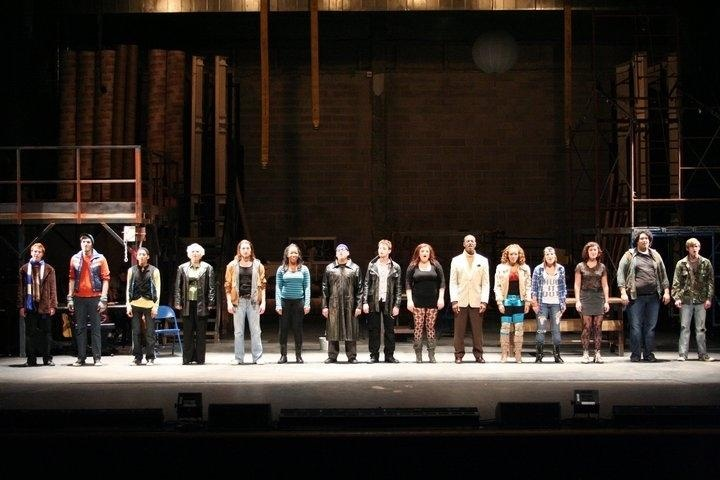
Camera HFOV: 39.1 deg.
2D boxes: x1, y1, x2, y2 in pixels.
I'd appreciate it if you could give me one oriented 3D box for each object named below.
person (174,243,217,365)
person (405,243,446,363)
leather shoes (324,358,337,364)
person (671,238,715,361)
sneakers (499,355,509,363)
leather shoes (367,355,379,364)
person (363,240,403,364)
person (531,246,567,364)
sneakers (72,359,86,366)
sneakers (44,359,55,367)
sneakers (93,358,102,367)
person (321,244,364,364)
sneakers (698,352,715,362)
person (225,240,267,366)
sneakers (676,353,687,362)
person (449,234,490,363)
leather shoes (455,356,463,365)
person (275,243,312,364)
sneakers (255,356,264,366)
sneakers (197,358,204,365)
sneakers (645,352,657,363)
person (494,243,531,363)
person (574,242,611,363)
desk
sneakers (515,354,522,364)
[{"bbox_3d":[-3.252,1.271,20.178,0.774,2.409,0.649,-1,-9,-8],"label":"person"},{"bbox_3d":[1.313,1.247,20.018,0.747,2.330,0.594,-4,-9,11],"label":"person"},{"bbox_3d":[-0.563,2.411,20.185,0.244,0.085,0.092,2,-2,8],"label":"leather shoes"},{"bbox_3d":[6.663,1.161,20.209,0.828,2.527,0.884,-5,-9,15],"label":"person"},{"bbox_3d":[2.878,2.371,20.107,0.120,0.134,0.343,-2,-9,9],"label":"sneakers"},{"bbox_3d":[0.301,2.370,20.105,0.195,0.171,0.305,-2,-8,0],"label":"leather shoes"},{"bbox_3d":[0.459,1.222,20.173,0.746,2.427,0.629,-2,-9,-1],"label":"person"},{"bbox_3d":[3.762,1.265,20.080,0.679,2.372,1.016,-4,-9,9],"label":"person"},{"bbox_3d":[-5.511,2.433,19.992,0.229,0.086,0.103,2,-2,1],"label":"sneakers"},{"bbox_3d":[-6.102,2.425,20.017,0.089,0.102,0.257,6,-10,-44],"label":"sneakers"},{"bbox_3d":[-5.162,2.433,20.085,0.110,0.158,0.169,-7,-22,20],"label":"sneakers"},{"bbox_3d":[-0.331,1.271,20.094,0.720,2.309,0.623,3,-10,-30],"label":"person"},{"bbox_3d":[6.904,2.363,20.193,0.354,0.131,0.132,-4,-4,38],"label":"sneakers"},{"bbox_3d":[-2.269,1.235,20.296,0.785,2.494,0.841,-1,-9,-8],"label":"person"},{"bbox_3d":[6.400,2.339,20.124,0.112,0.118,0.324,-4,-11,26],"label":"sneakers"},{"bbox_3d":[2.209,1.168,20.206,0.765,2.541,1.125,-3,-9,4],"label":"person"},{"bbox_3d":[1.965,2.378,19.949,0.113,0.128,0.325,-1,-9,4],"label":"leather shoes"},{"bbox_3d":[-1.311,1.262,20.306,0.651,2.405,0.935,-1,-9,-5],"label":"person"},{"bbox_3d":[-1.973,2.385,20.151,0.249,0.187,0.339,-1,-8,-5],"label":"sneakers"},{"bbox_3d":[-3.138,2.419,20.124,0.141,0.122,0.122,1,0,18],"label":"sneakers"},{"bbox_3d":[5.769,2.331,20.075,0.111,0.127,0.325,2,3,23],"label":"sneakers"},{"bbox_3d":[3.054,1.240,19.973,0.727,2.329,0.535,-3,-9,2],"label":"person"},{"bbox_3d":[4.603,1.237,20.058,0.614,2.363,0.691,-5,-9,16],"label":"person"},{"bbox_3d":[-5.618,1.907,21.553,0.933,1.011,0.985,7,-5,4],"label":"desk"},{"bbox_3d":[3.142,2.361,20.012,0.138,0.153,0.387,-1,-8,5],"label":"sneakers"}]
